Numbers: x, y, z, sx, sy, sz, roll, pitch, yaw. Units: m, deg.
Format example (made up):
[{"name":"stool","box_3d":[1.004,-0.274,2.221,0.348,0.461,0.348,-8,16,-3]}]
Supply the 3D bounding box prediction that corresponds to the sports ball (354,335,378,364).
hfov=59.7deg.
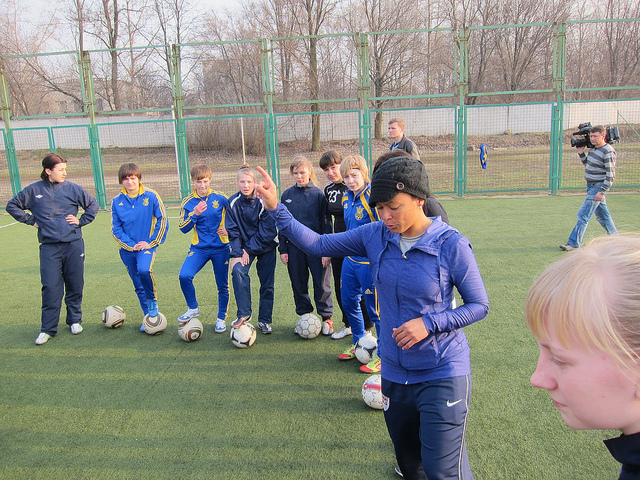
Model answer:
[{"name":"sports ball","box_3d":[0.491,1.159,5.894,0.239,0.305,0.264,0,1,6]}]

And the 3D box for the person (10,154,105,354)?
[{"name":"person","box_3d":[-3.341,0.057,7.064,0.807,2.220,1.176,-4,12,-2]}]

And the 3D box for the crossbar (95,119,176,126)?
[{"name":"crossbar","box_3d":[-5.002,-3.208,15.188,2.215,0.088,0.322,-2,12,10]}]

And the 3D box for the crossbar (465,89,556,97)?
[{"name":"crossbar","box_3d":[4.971,-3.878,14.675,2.290,0.145,0.415,-3,12,3]}]

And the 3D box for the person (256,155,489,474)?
[{"name":"person","box_3d":[0.581,0.534,3.986,1.101,2.238,0.621,7,16,43]}]

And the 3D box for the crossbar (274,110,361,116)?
[{"name":"crossbar","box_3d":[-0.072,-3.354,14.636,2.243,0.134,0.720,-5,12,-5]}]

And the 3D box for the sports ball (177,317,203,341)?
[{"name":"sports ball","box_3d":[-1.527,1.077,6.669,0.232,0.263,0.286,15,42,-9]}]

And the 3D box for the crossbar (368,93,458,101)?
[{"name":"crossbar","box_3d":[2.462,-3.808,14.827,2.346,0.136,0.682,-3,12,5]}]

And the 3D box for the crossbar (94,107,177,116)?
[{"name":"crossbar","box_3d":[-5.090,-3.517,15.188,2.446,0.109,0.610,-1,12,15]}]

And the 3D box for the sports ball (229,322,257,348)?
[{"name":"sports ball","box_3d":[-0.899,1.086,6.531,0.259,0.276,0.268,4,10,-1]}]

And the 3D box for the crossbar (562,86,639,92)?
[{"name":"crossbar","box_3d":[7.050,-3.874,14.214,1.527,0.087,0.748,-6,12,-9]}]

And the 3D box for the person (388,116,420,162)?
[{"name":"person","box_3d":[1.460,-1.865,9.927,0.396,0.599,1.441,-3,12,6]}]

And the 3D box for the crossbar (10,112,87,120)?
[{"name":"crossbar","box_3d":[-7.706,-3.538,15.847,2.302,0.130,0.382,-3,12,8]}]

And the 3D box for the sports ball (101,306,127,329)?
[{"name":"sports ball","box_3d":[-2.593,0.974,7.068,0.268,0.279,0.264,-5,-28,-3]}]

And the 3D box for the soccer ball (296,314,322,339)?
[{"name":"soccer ball","box_3d":[-0.119,1.016,6.579,0.265,0.294,0.265,-5,-2,0]}]

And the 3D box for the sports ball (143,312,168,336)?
[{"name":"sports ball","box_3d":[-2.011,1.031,6.818,0.264,0.263,0.267,6,24,-3]}]

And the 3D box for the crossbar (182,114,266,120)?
[{"name":"crossbar","box_3d":[-2.558,-3.300,14.948,2.187,0.127,0.187,-2,12,11]}]

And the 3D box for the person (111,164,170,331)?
[{"name":"person","box_3d":[-2.204,0.001,7.043,0.608,1.901,0.701,-13,15,-37]}]

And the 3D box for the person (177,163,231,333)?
[{"name":"person","box_3d":[-1.454,0.100,7.020,0.733,2.032,0.805,-6,12,-11]}]

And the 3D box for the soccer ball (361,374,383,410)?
[{"name":"soccer ball","box_3d":[0.486,1.416,5.208,0.210,0.311,0.200,-4,12,1]}]

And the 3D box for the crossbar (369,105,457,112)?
[{"name":"crossbar","box_3d":[2.435,-3.442,14.550,2.230,0.109,0.476,-7,12,-11]}]

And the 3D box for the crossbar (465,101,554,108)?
[{"name":"crossbar","box_3d":[4.898,-3.557,14.594,2.173,0.130,0.529,-4,12,-1]}]

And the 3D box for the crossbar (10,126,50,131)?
[{"name":"crossbar","box_3d":[-7.987,-3.083,15.396,1.075,0.079,0.133,-5,12,-2]}]

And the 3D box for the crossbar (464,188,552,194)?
[{"name":"crossbar","box_3d":[5.091,-1.342,15.137,2.219,0.117,0.202,-4,12,3]}]
